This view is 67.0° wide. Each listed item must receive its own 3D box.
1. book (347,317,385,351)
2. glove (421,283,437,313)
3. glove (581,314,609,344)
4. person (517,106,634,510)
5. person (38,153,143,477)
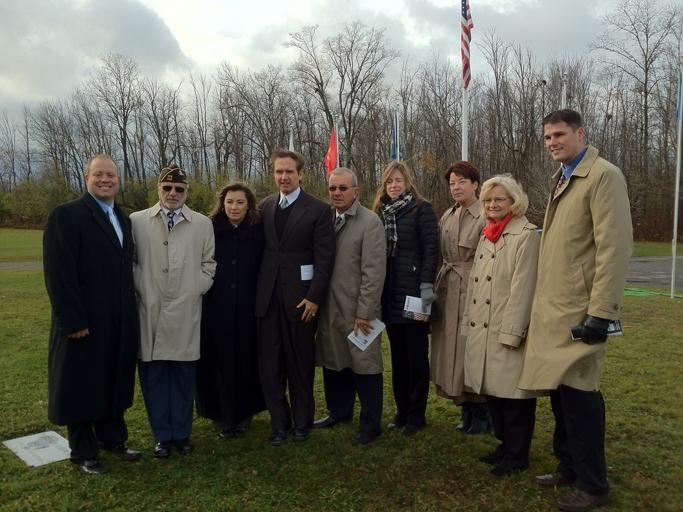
[{"bbox_3d":[0.293,0.851,5.671,0.386,0.272,0.090,-47,-5,0],"label":"book"},{"bbox_3d":[0.970,0.453,5.660,0.141,0.306,0.173,-8,7,-41],"label":"glove"},{"bbox_3d":[2.130,0.617,4.320,0.167,0.263,0.240,1,-2,-1],"label":"glove"},{"bbox_3d":[2.054,0.430,4.538,0.823,3.436,0.724,4,8,37],"label":"person"},{"bbox_3d":[-2.506,0.292,5.109,0.863,2.567,0.504,-4,7,-26],"label":"person"}]
